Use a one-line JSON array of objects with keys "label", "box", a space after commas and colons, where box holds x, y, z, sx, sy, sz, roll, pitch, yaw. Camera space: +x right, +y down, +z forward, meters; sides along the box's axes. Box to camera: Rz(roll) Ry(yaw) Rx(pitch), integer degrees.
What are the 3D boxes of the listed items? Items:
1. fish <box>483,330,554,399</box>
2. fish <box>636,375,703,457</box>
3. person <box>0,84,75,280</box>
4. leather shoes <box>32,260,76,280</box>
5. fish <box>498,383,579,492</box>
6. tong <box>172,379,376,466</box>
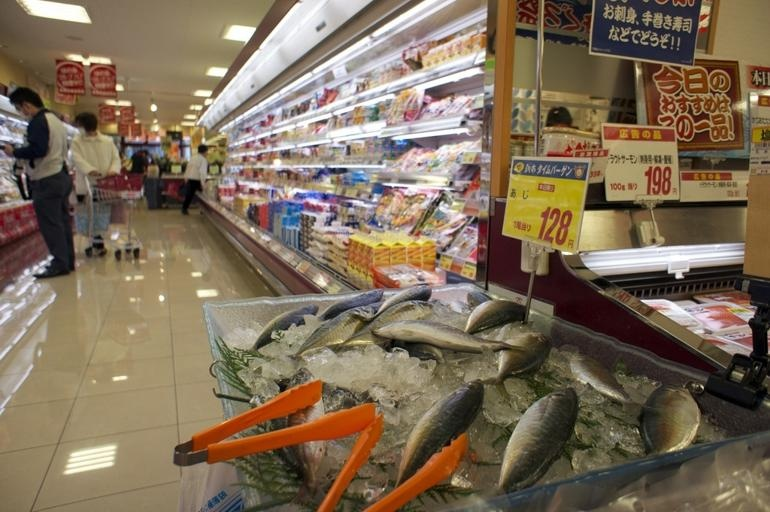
[{"label": "fish", "box": [0.311, 0.231, 0.899, 0.208, 0.066, 0.097, -35, 35, -29]}, {"label": "fish", "box": [0.521, 0.294, 0.724, 0.119, 0.039, 0.146, 5, 49, 39]}, {"label": "person", "box": [-4.129, -0.880, 4.801, 0.545, 2.219, 0.691, -9, 19, -37]}, {"label": "leather shoes", "box": [-4.172, 0.157, 4.867, 0.561, 0.248, 0.196, -7, 4, -29]}, {"label": "fish", "box": [0.265, 0.307, 0.722, 0.243, 0.076, 0.081, -31, -4, -41]}, {"label": "tong", "box": [-0.176, 0.276, 0.660, 0.291, 0.050, 0.147, -11, 18, -28]}]
